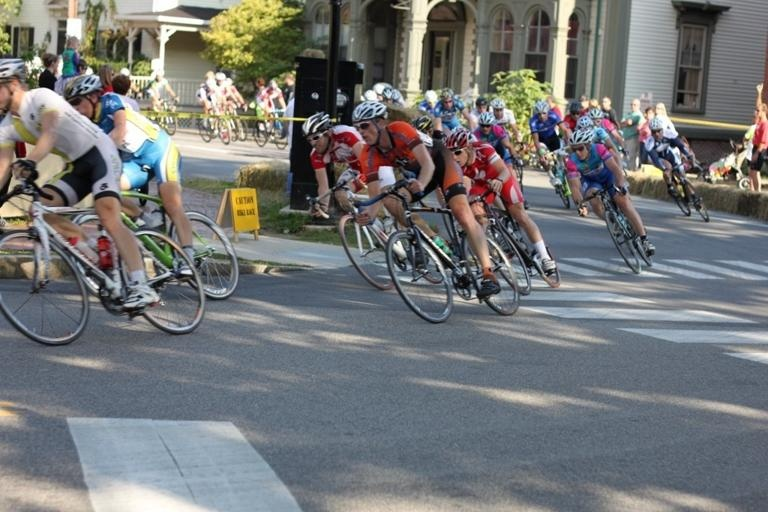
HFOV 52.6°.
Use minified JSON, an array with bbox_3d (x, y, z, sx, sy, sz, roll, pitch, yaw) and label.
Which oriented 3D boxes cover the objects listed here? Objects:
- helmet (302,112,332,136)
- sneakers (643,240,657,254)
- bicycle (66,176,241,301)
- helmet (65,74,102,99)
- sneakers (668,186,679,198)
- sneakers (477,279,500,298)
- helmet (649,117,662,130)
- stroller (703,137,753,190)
[{"bbox_3d":[-0.850,-1.696,10.194,0.307,0.243,0.445,-10,9,37],"label":"helmet"},{"bbox_3d":[4.435,-0.124,13.149,0.167,0.232,0.480,-8,-1,-4],"label":"sneakers"},{"bbox_3d":[-2.834,-0.150,9.538,2.577,1.616,1.003,-1,25,29],"label":"bicycle"},{"bbox_3d":[-3.109,-1.752,8.130,0.238,0.140,0.362,15,27,37],"label":"helmet"},{"bbox_3d":[7.307,-1.567,19.658,0.210,0.330,0.293,7,8,-3],"label":"sneakers"},{"bbox_3d":[1.212,0.387,9.126,0.121,0.194,0.373,3,-1,-14],"label":"sneakers"},{"bbox_3d":[6.740,-3.180,19.383,0.270,0.154,0.424,0,40,7],"label":"helmet"},{"bbox_3d":[11.525,-2.804,25.909,0.899,1.536,2.343,-2,4,-21],"label":"stroller"}]
